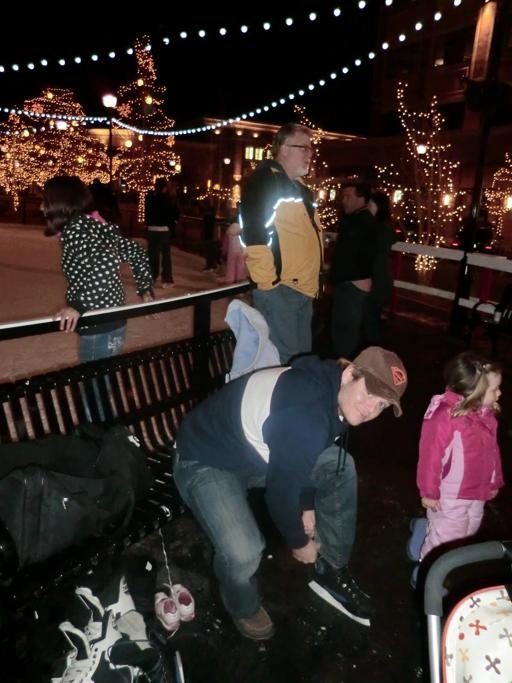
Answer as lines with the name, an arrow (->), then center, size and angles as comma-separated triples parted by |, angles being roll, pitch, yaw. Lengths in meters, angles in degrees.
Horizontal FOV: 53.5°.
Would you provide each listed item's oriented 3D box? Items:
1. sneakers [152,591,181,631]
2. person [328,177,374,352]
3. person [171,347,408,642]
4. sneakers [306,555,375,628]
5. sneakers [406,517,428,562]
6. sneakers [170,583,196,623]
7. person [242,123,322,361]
sneakers -> -0.393, 1.195, 2.245 | 0.101, 0.069, 0.170 | -11, 30, -21
person -> 0.916, -0.605, 4.922 | 0.414, 1.738, 0.587 | 5, 23, 7
person -> 0.088, 0.654, 2.296 | 0.920, 1.443, 0.633 | -1, 23, -6
sneakers -> 0.346, 1.223, 2.462 | 0.389, 0.275, 0.132 | 25, 39, 32
sneakers -> 0.920, 1.128, 2.864 | 0.125, 0.213, 0.050 | 3, -19, 26
sneakers -> -0.343, 1.190, 2.361 | 0.096, 0.074, 0.181 | -6, 50, -23
person -> 0.171, -0.669, 3.547 | 0.536, 1.578, 0.719 | 9, 24, 17
